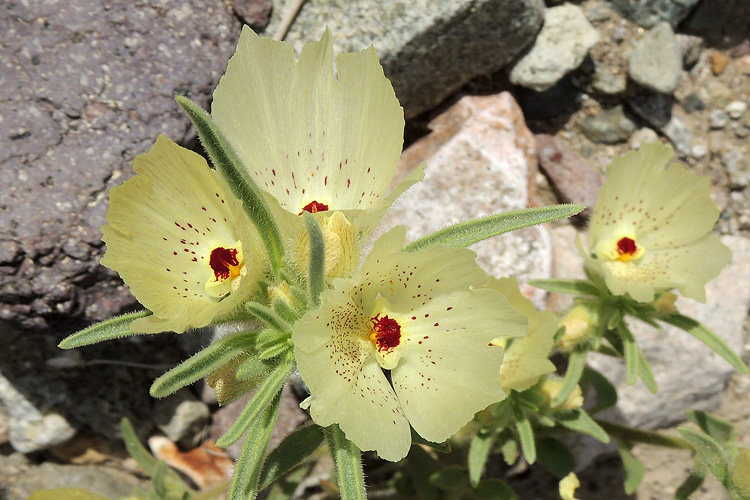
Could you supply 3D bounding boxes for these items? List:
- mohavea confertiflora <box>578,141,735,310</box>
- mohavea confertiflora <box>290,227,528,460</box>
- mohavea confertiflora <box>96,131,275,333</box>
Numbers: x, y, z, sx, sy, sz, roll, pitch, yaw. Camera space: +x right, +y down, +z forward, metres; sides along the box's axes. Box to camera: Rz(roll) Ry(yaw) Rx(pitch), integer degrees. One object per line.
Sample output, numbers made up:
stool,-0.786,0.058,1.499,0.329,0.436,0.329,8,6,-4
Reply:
mohavea confertiflora,1.966,-0.152,5.711,1.094,0.473,1.098,32,90,-1
mohavea confertiflora,0.083,0.561,4.497,1.127,0.428,1.153,28,92,-11
mohavea confertiflora,-1.159,-0.079,4.555,0.875,0.268,1.070,-25,85,-3
